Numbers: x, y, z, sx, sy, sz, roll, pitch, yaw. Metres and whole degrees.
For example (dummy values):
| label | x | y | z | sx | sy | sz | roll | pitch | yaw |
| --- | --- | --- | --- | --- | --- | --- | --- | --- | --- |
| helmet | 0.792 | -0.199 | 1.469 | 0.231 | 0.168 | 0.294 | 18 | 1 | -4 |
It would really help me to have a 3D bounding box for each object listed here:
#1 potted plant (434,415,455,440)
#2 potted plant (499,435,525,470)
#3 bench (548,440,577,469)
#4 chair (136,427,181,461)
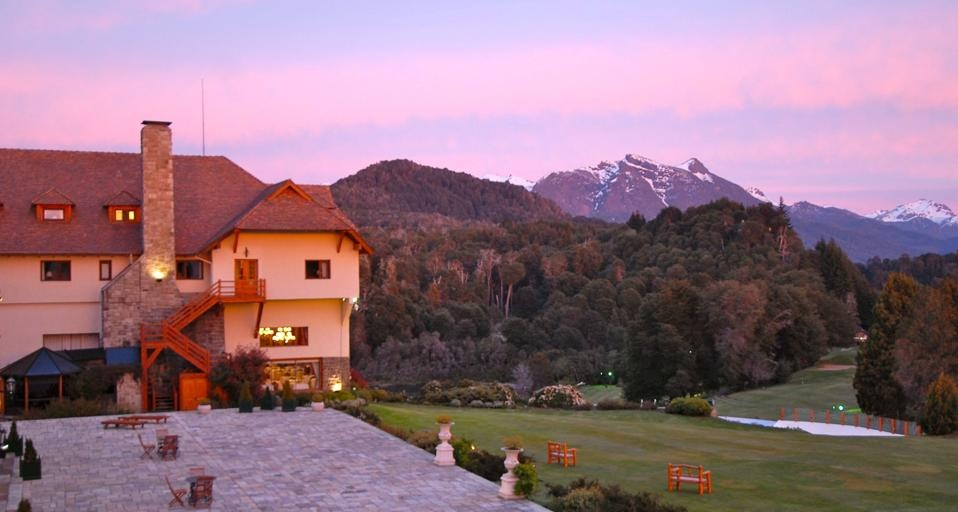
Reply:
| label | x | y | z | sx | sy | sz | roll | pitch | yaw |
| --- | --- | --- | --- | --- | --- | --- | --- | --- | --- |
| potted plant | -2.708 | 13.333 | 79.633 | 1.076 | 2.302 | 1.678 | 4 | 11 | 5 |
| potted plant | 2.388 | 14.860 | 75.831 | 1.316 | 3.060 | 2.327 | 3 | 10 | 2 |
| bench | 6.563 | 15.559 | 81.367 | 2.347 | 1.593 | 2.362 | 3 | 10 | 3 |
| chair | -24.856 | 14.664 | 79.491 | 3.164 | 1.686 | 2.225 | 0 | 2 | -3 |
